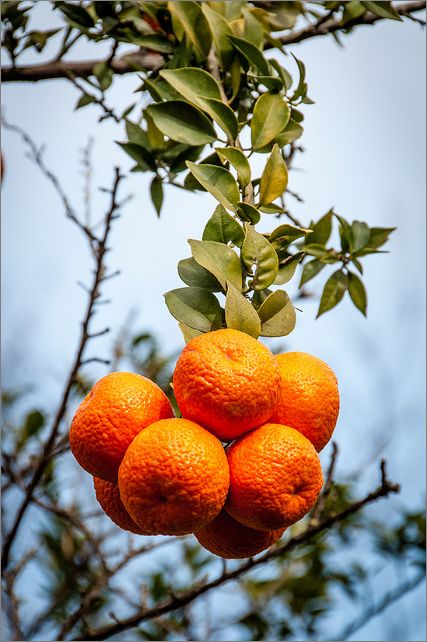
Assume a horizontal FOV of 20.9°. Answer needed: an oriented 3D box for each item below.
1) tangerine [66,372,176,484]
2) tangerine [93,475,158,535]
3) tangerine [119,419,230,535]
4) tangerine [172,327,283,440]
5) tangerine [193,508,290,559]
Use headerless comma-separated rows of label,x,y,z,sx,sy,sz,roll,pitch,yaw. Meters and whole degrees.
tangerine,-0.125,0.158,1.706,0.144,0.165,0.145,-9,-30,38
tangerine,-0.133,0.267,1.697,0.067,0.050,0.089,8,-10,14
tangerine,-0.055,0.213,1.677,0.155,0.148,0.176,30,-1,0
tangerine,0.022,0.086,1.675,0.150,0.142,0.143,-3,-34,-1
tangerine,0.033,0.328,1.717,0.090,0.091,0.108,-7,-22,15
